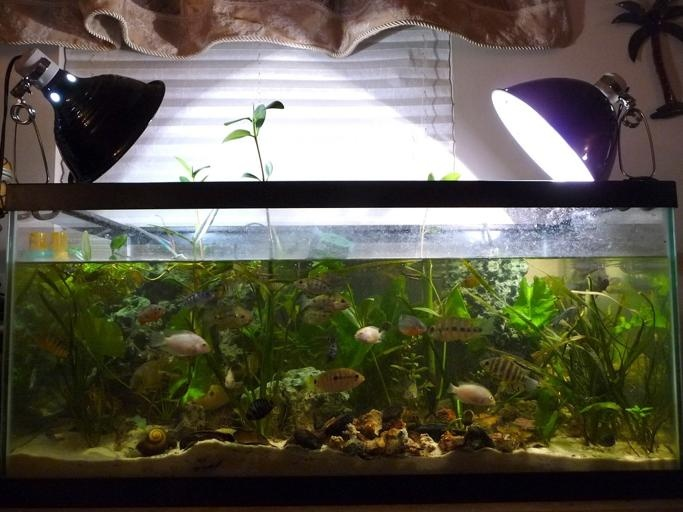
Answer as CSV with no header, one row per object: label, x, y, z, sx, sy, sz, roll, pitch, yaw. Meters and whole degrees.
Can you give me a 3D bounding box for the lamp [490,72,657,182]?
lamp,1.034,-0.602,2.787,0.692,0.497,0.513,6,20,-11
